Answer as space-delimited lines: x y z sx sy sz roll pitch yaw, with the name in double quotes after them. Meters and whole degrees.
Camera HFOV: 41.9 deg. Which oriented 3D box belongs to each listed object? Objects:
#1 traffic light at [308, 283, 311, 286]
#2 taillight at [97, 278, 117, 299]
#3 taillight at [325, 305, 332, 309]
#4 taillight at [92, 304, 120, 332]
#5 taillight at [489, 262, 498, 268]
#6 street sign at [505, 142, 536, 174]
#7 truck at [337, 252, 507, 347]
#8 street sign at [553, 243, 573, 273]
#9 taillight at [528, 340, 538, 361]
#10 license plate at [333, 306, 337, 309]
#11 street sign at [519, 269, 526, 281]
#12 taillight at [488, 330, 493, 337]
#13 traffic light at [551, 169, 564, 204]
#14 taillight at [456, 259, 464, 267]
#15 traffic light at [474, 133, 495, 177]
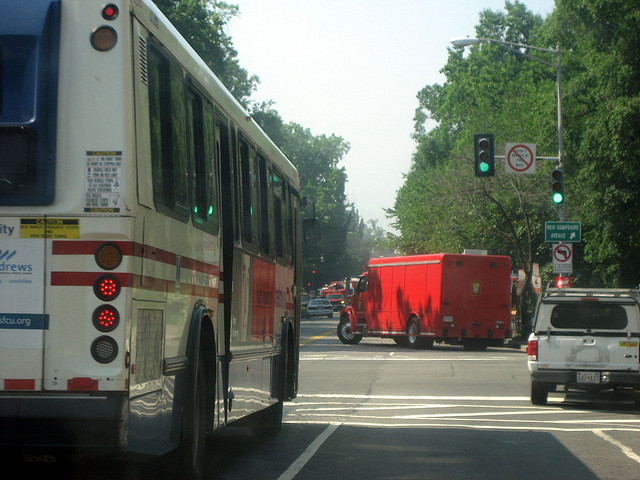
-1.440 5.767 109.950 0.312 0.195 0.350 4 -19 3 "traffic light"
-1.603 0.357 6.277 0.146 0.150 0.011 0 -3 2 "taillight"
0.724 6.051 76.283 0.739 0.349 0.166 6 -6 -44 "taillight"
-1.614 0.584 6.267 0.178 0.213 0.048 -3 1 3 "taillight"
6.656 0.943 32.189 0.314 0.199 0.023 1 -3 -11 "taillight"
6.846 -2.822 28.586 0.979 1.157 0.955 -1 -5 18 "street sign"
4.094 2.554 35.861 3.047 4.091 8.972 4 -5 -26 "truck"
7.861 0.572 27.189 0.558 0.933 0.465 0 -4 12 "street sign"
3.827 1.969 15.024 0.153 0.367 0.131 -1 -4 24 "taillight"
1.389 6.543 81.766 0.241 0.275 0.063 -5 0 7 "license plate"
8.900 1.524 36.791 0.302 0.487 0.454 0 -3 6 "street sign"
6.487 3.540 31.898 0.183 0.261 0.052 2 -4 -17 "taillight"
7.572 -1.762 26.686 0.317 1.105 0.613 -1 -4 21 "traffic light"
5.331 0.854 31.914 0.236 0.271 0.061 0 -5 -3 "taillight"
4.912 -2.504 25.040 0.609 1.442 0.548 -2 -23 15 "traffic light"
